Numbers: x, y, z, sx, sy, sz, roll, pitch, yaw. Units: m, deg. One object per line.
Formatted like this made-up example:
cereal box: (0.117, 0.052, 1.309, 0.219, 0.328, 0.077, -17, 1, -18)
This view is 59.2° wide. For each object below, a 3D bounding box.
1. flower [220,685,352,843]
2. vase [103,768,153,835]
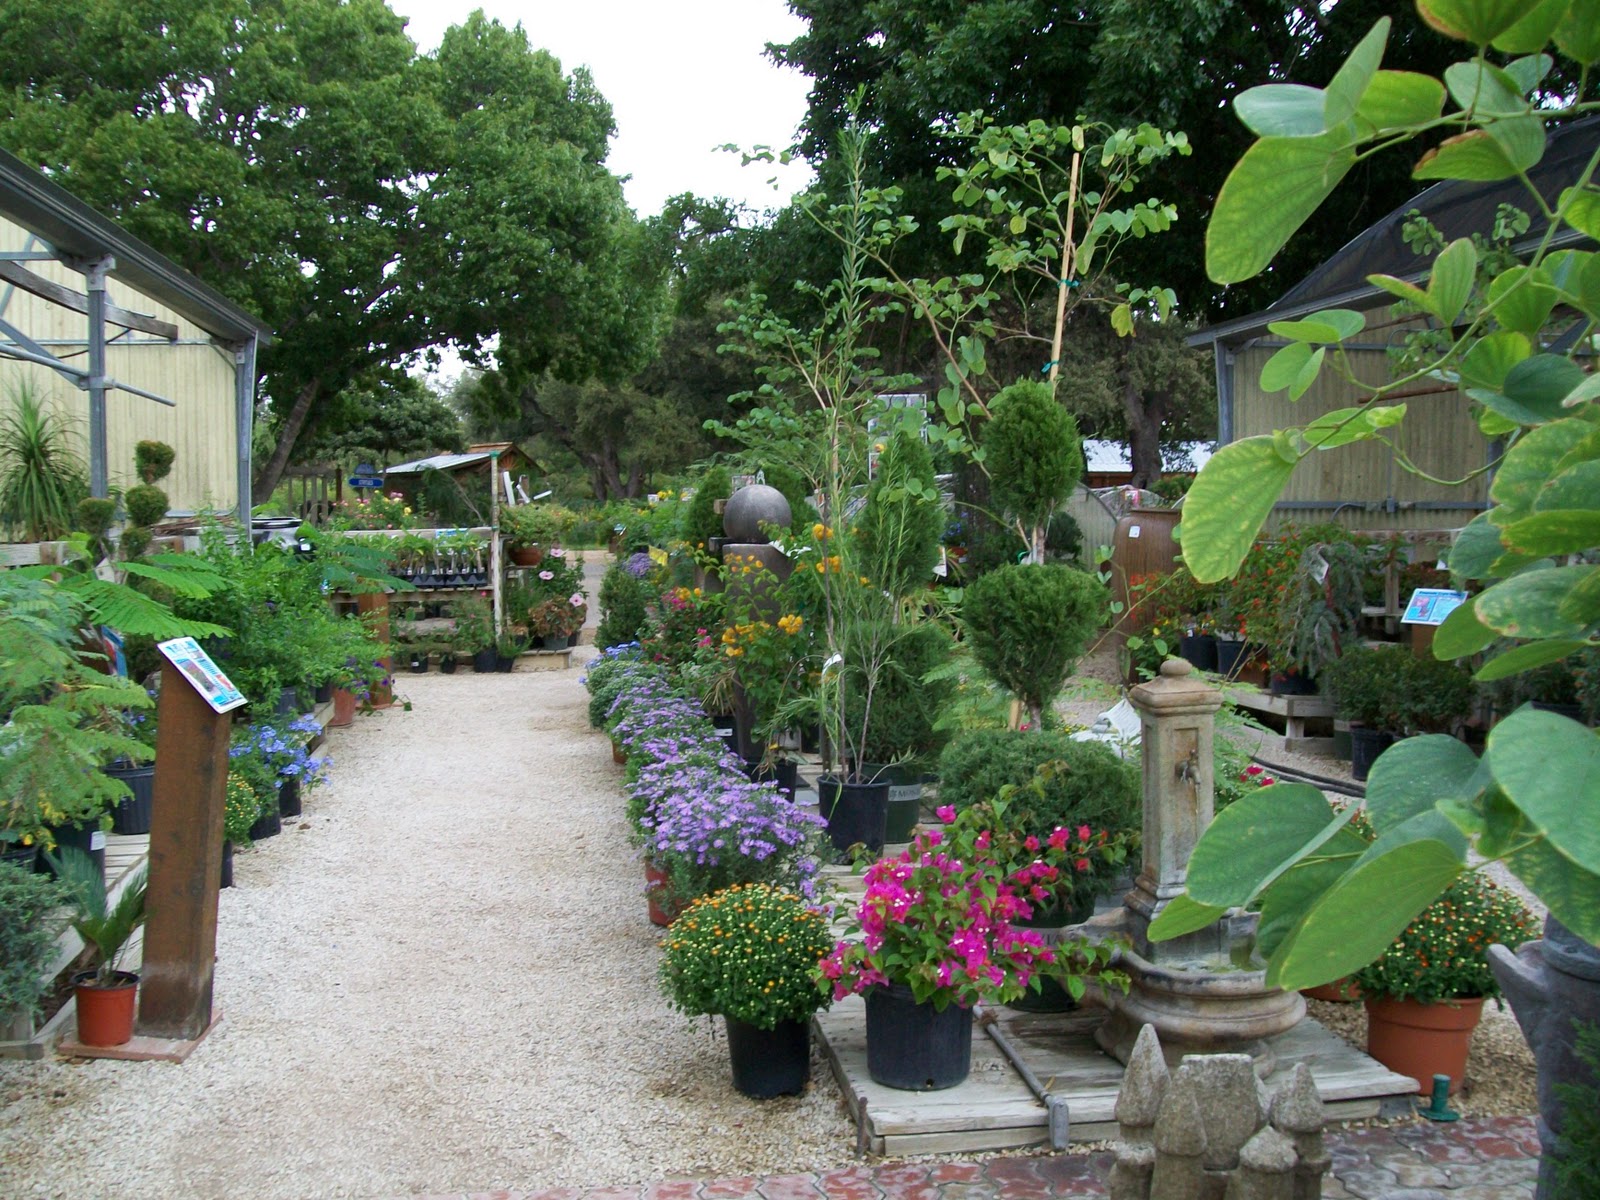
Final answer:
flower: (-2.672, 0.823, 7.072, 0.581, 0.317, 0.604, 7, 10, -19)
vase: (-2.900, 0.866, 6.070, 0.168, 0.281, 0.242, -3, 6, -27)
